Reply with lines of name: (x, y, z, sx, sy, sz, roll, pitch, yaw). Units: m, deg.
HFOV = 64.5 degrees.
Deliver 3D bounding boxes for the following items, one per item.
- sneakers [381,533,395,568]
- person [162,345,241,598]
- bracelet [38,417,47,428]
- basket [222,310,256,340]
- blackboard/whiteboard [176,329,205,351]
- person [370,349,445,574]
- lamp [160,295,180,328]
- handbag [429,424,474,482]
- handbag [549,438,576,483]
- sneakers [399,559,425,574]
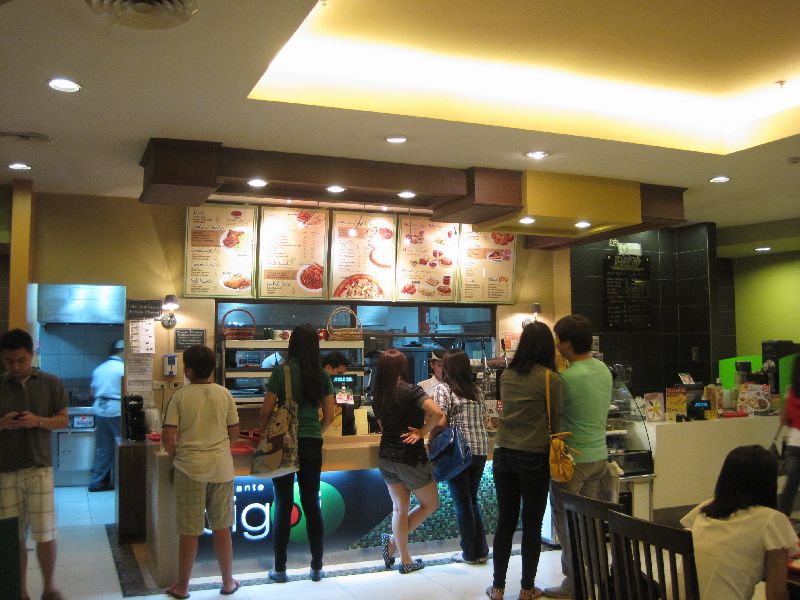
sneakers: (-0.107, 1.982, 5.043, 0.092, 0.233, 0.081, -3, -8, 23)
person: (-1.410, 1.203, 4.470, 0.492, 1.768, 0.265, 0, -2, -10)
bracelet: (-2.368, 0.799, 4.157, 0.049, 0.062, 0.060, 2, -4, -36)
basket: (-1.754, 0.259, 6.792, 0.336, 0.280, 0.330, 1, -9, -12)
blackboard/whiteboard: (-2.135, 0.394, 6.329, 0.232, 0.186, 0.023, -1, -2, -19)
person: (0.057, 1.252, 4.863, 0.552, 1.708, 0.297, 0, -2, -3)
lamp: (-2.409, 0.118, 6.550, 0.199, 0.347, 0.237, 1, -2, -20)
handbag: (0.381, 1.184, 4.934, 0.349, 0.345, 0.161, -39, -29, 23)
handbag: (1.054, 1.044, 4.148, 0.177, 0.336, 0.268, 3, -13, 2)
sneakers: (0.084, 2.080, 5.000, 0.226, 0.086, 0.078, 1, 0, -33)
